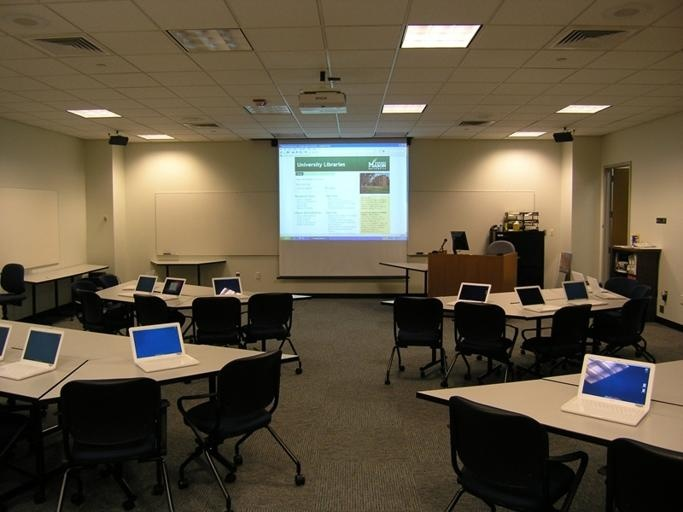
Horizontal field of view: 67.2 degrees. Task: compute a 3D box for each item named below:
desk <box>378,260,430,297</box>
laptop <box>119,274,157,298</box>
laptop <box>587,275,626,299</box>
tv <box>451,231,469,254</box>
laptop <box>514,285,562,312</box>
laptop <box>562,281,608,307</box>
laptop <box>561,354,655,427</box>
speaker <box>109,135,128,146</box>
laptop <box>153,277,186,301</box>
[{"bbox_3d":[1.309,0.568,10.085,0.598,0.548,1.123,0,3,-2],"label":"desk"},{"bbox_3d":[-2.764,0.418,7.152,0.402,0.249,0.312,1,0,11],"label":"laptop"},{"bbox_3d":[3.519,0.465,6.859,0.300,0.163,0.415,0,2,1],"label":"laptop"},{"bbox_3d":[2.148,-0.246,9.365,0.255,0.519,0.405,-12,13,-39],"label":"tv"},{"bbox_3d":[2.346,0.526,6.140,0.364,0.222,0.325,-2,1,-16],"label":"laptop"},{"bbox_3d":[2.995,0.464,6.532,0.363,0.225,0.313,0,3,-10],"label":"laptop"},{"bbox_3d":[1.937,0.949,3.750,0.586,0.325,0.624,-4,4,-26],"label":"laptop"},{"bbox_3d":[-4.084,-2.125,9.413,0.279,0.182,0.360,-2,6,-23],"label":"speaker"},{"bbox_3d":[-2.319,0.454,7.022,0.354,0.222,0.295,2,2,23],"label":"laptop"}]
